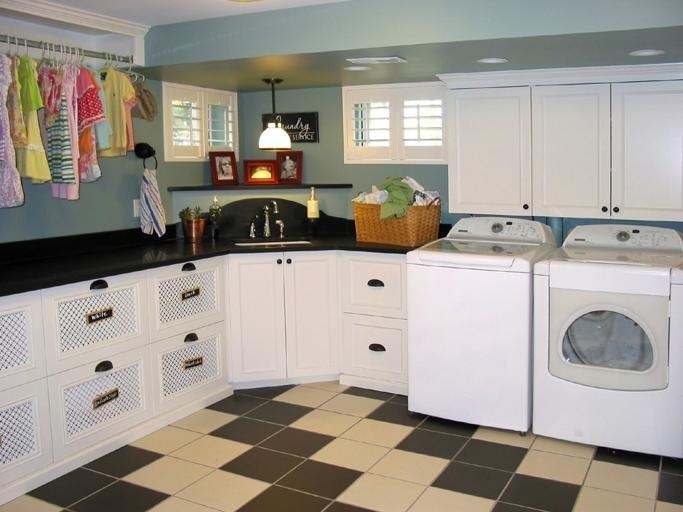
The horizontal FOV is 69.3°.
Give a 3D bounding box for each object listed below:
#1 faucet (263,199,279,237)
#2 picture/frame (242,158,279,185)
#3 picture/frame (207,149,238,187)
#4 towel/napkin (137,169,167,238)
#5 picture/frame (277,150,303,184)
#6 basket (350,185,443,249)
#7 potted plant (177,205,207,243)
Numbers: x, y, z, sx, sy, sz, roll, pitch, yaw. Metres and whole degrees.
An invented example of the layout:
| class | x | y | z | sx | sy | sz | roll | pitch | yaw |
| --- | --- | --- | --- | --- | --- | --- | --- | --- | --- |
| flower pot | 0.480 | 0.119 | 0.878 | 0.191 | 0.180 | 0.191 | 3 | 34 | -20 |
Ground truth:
| class | x | y | z | sx | sy | sz | roll | pitch | yaw |
| --- | --- | --- | --- | --- | --- | --- | --- | --- | --- |
| faucet | -0.573 | -0.293 | 4.037 | 0.134 | 0.287 | 0.261 | -2 | 11 | -7 |
| picture/frame | -0.690 | -0.712 | 4.271 | 0.308 | 0.237 | 0.022 | -1 | 0 | -9 |
| picture/frame | -1.018 | -0.730 | 4.213 | 0.340 | 0.393 | 0.040 | -7 | -2 | -43 |
| towel/napkin | -1.440 | -0.388 | 3.749 | 0.183 | 0.527 | 0.299 | -5 | 12 | -21 |
| picture/frame | -0.456 | -0.760 | 4.322 | 0.322 | 0.399 | 0.032 | 0 | -1 | -2 |
| basket | 0.394 | -0.267 | 3.630 | 0.563 | 0.293 | 0.410 | 1 | 3 | 29 |
| potted plant | -1.142 | -0.233 | 3.822 | 0.141 | 0.253 | 0.268 | -8 | 13 | -33 |
